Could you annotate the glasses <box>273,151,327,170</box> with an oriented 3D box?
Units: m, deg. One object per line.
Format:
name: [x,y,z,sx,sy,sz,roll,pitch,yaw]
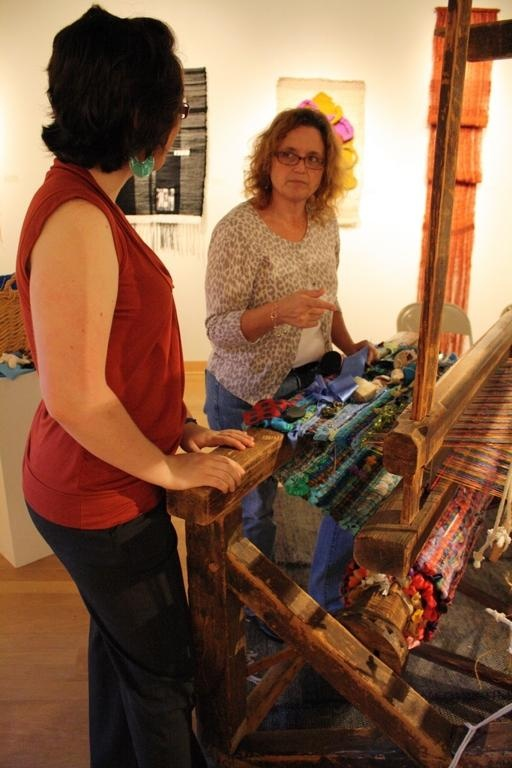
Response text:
glasses: [0.122,-0.634,1.762,0.137,0.053,0.049,-1,12,-2]

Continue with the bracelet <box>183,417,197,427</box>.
bracelet: [-0.136,0.079,1.283,0.018,0.013,0.017,1,5,9]

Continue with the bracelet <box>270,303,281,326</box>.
bracelet: [0.047,-0.174,1.551,0.012,0.042,0.032,4,30,-5]
